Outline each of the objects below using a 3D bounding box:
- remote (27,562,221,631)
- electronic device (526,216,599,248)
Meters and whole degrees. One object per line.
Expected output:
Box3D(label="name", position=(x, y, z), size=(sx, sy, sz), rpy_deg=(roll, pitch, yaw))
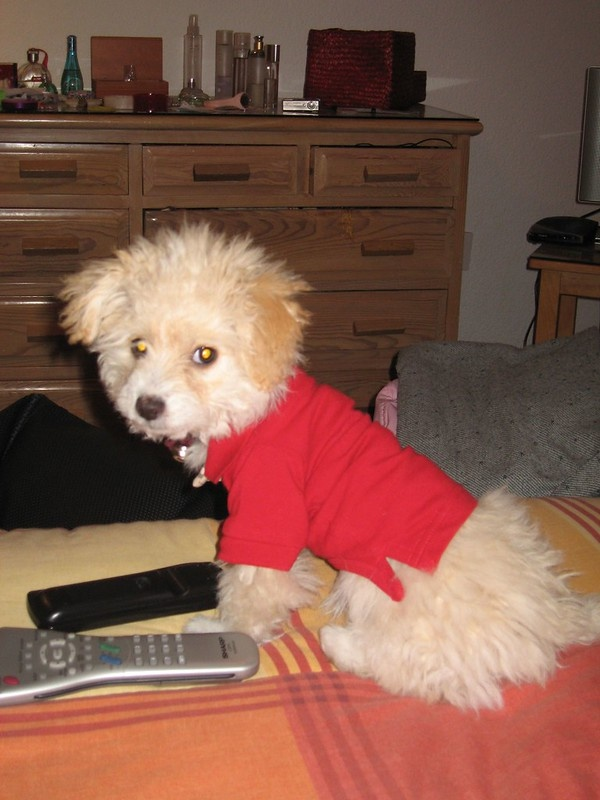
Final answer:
Box3D(label="remote", position=(-0.192, 0.222, 0.846), size=(0.226, 0.034, 0.068), rpy_deg=(1, 32, -30))
Box3D(label="electronic device", position=(0.860, -0.552, 2.379), size=(0.181, 0.046, 0.164), rpy_deg=(7, 25, 18))
